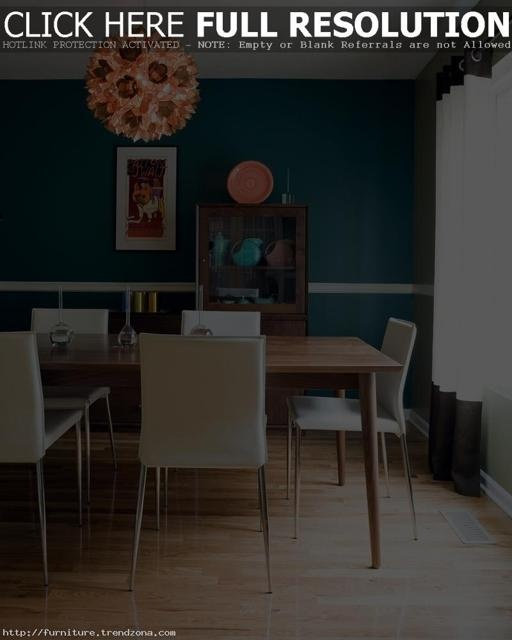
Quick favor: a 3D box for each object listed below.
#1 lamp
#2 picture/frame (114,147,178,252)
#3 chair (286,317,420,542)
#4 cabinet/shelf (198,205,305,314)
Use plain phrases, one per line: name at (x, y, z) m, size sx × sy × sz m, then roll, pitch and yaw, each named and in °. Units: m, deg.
lamp at (-0.423, -0.870, 2.072) m, size 0.382 × 0.279 × 0.428 m, roll 8°, pitch 31°, yaw 20°
picture/frame at (-0.814, -0.942, 4.131) m, size 0.427 × 0.893 × 0.016 m, roll -2°, pitch -22°, yaw -8°
chair at (0.393, 0.465, 2.772) m, size 0.625 × 1.424 × 0.786 m, roll 1°, pitch -2°, yaw -2°
cabinet/shelf at (-0.026, -0.435, 3.795) m, size 0.553 × 0.725 × 0.249 m, roll 0°, pitch -2°, yaw 1°
